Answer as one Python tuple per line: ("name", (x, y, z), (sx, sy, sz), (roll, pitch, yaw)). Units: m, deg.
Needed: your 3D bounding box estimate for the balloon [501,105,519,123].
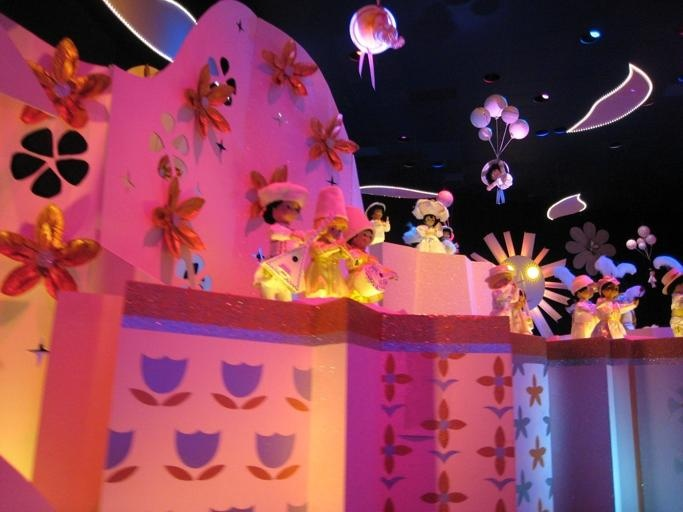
("balloon", (1.579, -1.313, 6.554), (0.149, 0.155, 0.154), (24, -47, -9))
